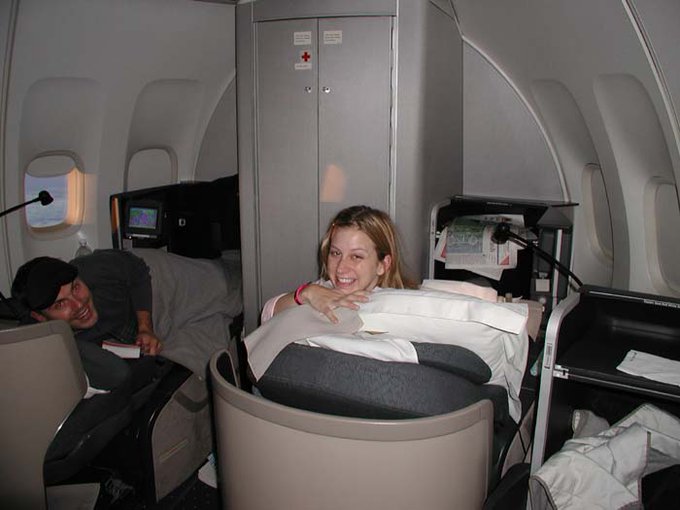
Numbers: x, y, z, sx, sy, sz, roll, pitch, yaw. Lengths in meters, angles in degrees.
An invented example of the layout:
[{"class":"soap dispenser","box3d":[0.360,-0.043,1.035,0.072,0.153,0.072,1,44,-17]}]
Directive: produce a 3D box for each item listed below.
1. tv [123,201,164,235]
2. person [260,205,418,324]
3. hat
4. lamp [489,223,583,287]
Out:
[{"class":"tv","box3d":[-1.415,-0.277,3.718,0.209,0.229,0.031,1,-2,-1]},{"class":"person","box3d":[0.040,0.102,2.120,0.514,0.305,0.718,8,47,20]},{"class":"hat","box3d":[-1.478,0.077,2.546,0.305,0.089,0.330,-16,32,-29]},{"class":"lamp","box3d":[1.093,-0.017,2.904,0.445,0.338,0.439,1,5,18]}]
